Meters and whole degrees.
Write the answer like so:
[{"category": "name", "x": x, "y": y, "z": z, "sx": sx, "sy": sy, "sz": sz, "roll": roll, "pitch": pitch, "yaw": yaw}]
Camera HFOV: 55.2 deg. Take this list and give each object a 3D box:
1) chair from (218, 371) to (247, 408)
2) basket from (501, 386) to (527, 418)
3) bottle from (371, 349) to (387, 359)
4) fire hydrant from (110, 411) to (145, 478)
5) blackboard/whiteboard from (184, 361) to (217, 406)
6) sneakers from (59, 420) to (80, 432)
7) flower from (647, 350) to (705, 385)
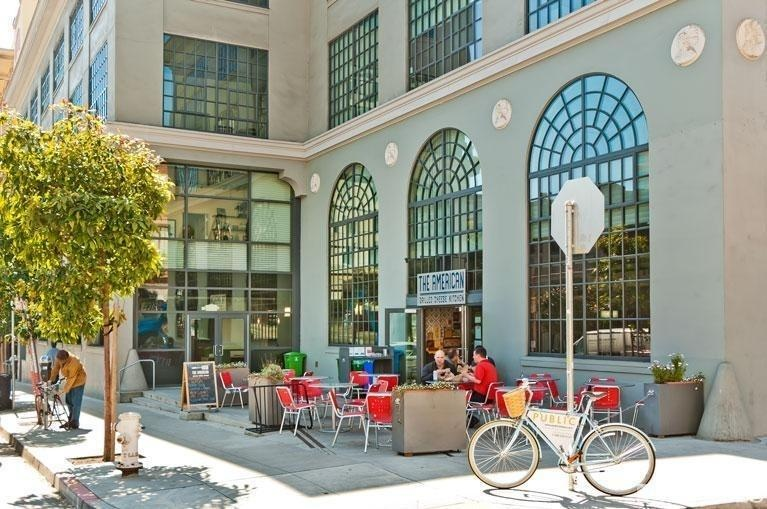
[{"category": "chair", "x": -4.773, "y": 4.274, "z": 23.249, "sx": 0.866, "sy": 1.176, "sz": 1.220, "roll": 3, "pitch": -12, "yaw": -11}, {"category": "basket", "x": 2.404, "y": 2.770, "z": 13.854, "sx": 0.474, "sy": 0.687, "sz": 0.586, "roll": -2, "pitch": -4, "yaw": -15}, {"category": "bottle", "x": -0.173, "y": 3.438, "z": 25.562, "sx": 0.706, "sy": 0.403, "sz": 0.285, "roll": 1, "pitch": -11, "yaw": -2}, {"category": "fire hydrant", "x": -5.147, "y": 3.839, "z": 14.862, "sx": 0.548, "sy": 1.210, "sz": 0.917, "roll": 4, "pitch": -12, "yaw": -17}, {"category": "blackboard/whiteboard", "x": -5.676, "y": 4.076, "z": 22.821, "sx": 1.094, "sy": 1.395, "sz": 0.738, "roll": 4, "pitch": -11, "yaw": -17}, {"category": "sneakers", "x": -8.478, "y": 4.681, "z": 19.844, "sx": 0.543, "sy": 0.251, "sz": 0.199, "roll": 3, "pitch": -6, "yaw": 4}, {"category": "flower", "x": 6.980, "y": 2.756, "z": 17.724, "sx": 0.719, "sy": 0.642, "sz": 0.883, "roll": 1, "pitch": -1, "yaw": -13}]
